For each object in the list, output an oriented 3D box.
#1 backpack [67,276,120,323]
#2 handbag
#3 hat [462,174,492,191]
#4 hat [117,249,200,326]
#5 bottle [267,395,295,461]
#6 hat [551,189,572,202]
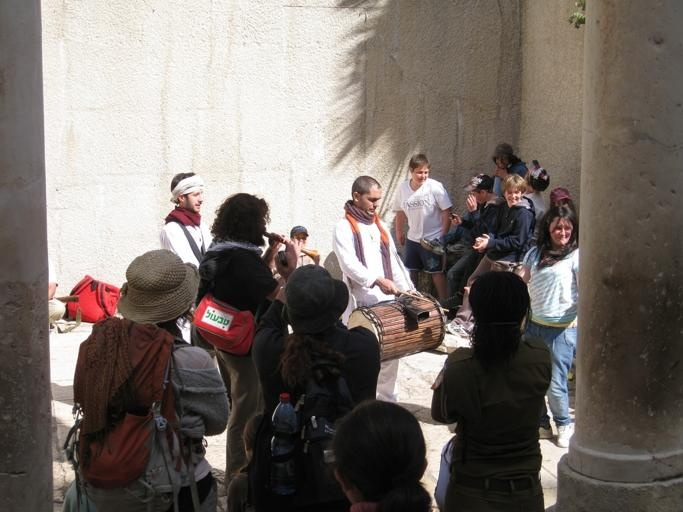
[{"bbox_3d":[-2.706,0.464,10.838,0.431,0.459,0.452,13,7,6],"label":"backpack"},{"bbox_3d":[-0.830,0.462,6.905,0.444,0.403,0.245,22,34,21],"label":"handbag"},{"bbox_3d":[1.482,-0.807,10.857,0.276,0.151,0.204,2,10,16],"label":"hat"},{"bbox_3d":[-1.045,0.181,5.643,0.439,0.365,0.234,5,-35,12],"label":"hat"},{"bbox_3d":[-0.324,0.914,5.424,0.153,0.335,0.193,-1,5,-4],"label":"bottle"},{"bbox_3d":[2.134,-0.595,9.614,0.134,0.116,0.206,-5,1,4],"label":"hat"}]
